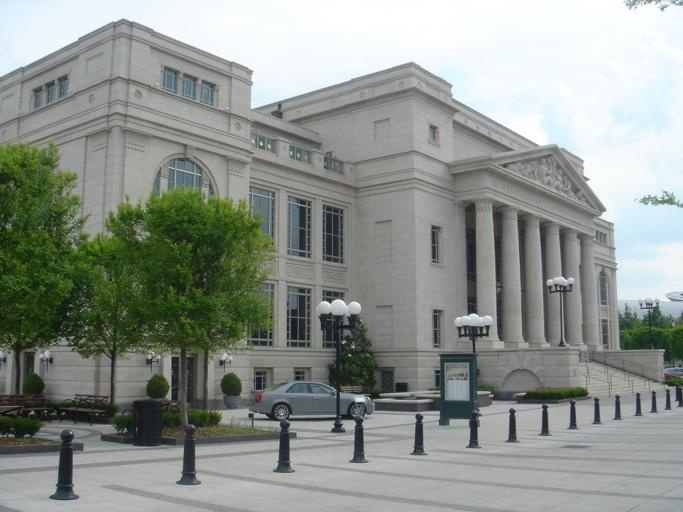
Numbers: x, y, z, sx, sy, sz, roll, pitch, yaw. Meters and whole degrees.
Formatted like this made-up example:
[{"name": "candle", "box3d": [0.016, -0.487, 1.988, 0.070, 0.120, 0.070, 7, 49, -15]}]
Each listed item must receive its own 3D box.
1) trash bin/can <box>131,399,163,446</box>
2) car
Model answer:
[{"name": "trash bin/can", "box3d": [-6.432, 5.520, 28.575, 0.927, 1.507, 0.633, 1, -11, -8]}, {"name": "car", "box3d": [-1.328, 6.439, 37.984, 5.316, 1.472, 2.042, 0, -7, -12]}]
